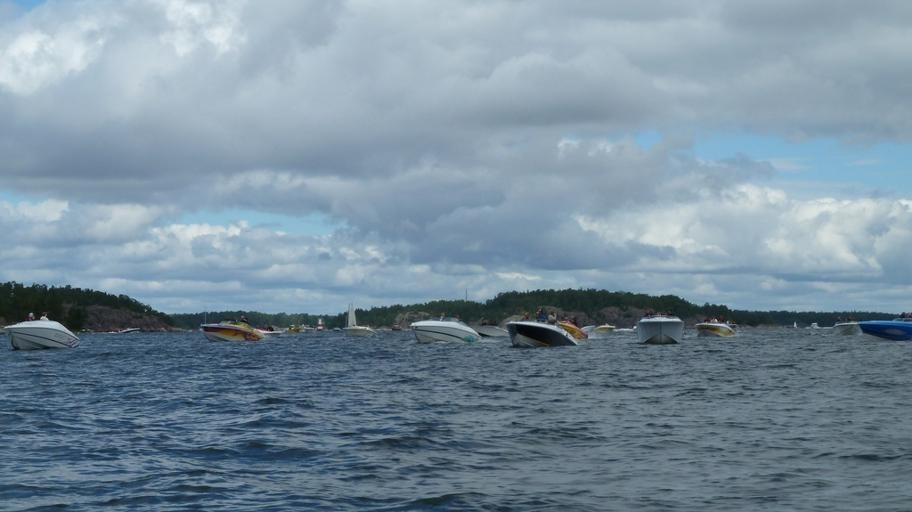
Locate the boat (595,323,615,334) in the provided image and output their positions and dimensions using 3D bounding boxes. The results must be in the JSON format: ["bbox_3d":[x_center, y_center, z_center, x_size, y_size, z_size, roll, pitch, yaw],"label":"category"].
[{"bbox_3d":[21.210,10.518,162.965,1.985,1.332,6.560,-7,-11,30],"label":"boat"}]

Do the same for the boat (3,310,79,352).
[{"bbox_3d":[-29.703,5.512,81.401,1.673,2.618,6.499,0,-3,13],"label":"boat"}]

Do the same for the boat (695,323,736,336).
[{"bbox_3d":[25.750,7.190,113.656,1.873,1.002,4.008,2,-8,30],"label":"boat"}]

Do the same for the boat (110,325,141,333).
[{"bbox_3d":[-65.844,14.712,226.393,1.339,1.032,4.919,2,-8,-41],"label":"boat"}]

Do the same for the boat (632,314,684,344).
[{"bbox_3d":[15.327,5.692,87.571,3.323,2.362,2.770,0,-3,18],"label":"boat"}]

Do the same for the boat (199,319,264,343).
[{"bbox_3d":[-19.682,6.661,100.077,4.395,1.862,6.674,1,-3,-1],"label":"boat"}]

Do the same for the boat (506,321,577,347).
[{"bbox_3d":[5.692,5.744,82.577,3.173,2.037,5.147,-2,-4,41],"label":"boat"}]

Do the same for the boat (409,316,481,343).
[{"bbox_3d":[-0.958,6.089,90.989,5.152,1.542,2.105,11,-9,-25],"label":"boat"}]

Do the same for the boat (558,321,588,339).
[{"bbox_3d":[10.411,6.860,104.210,1.004,1.444,6.822,-36,-22,12],"label":"boat"}]
